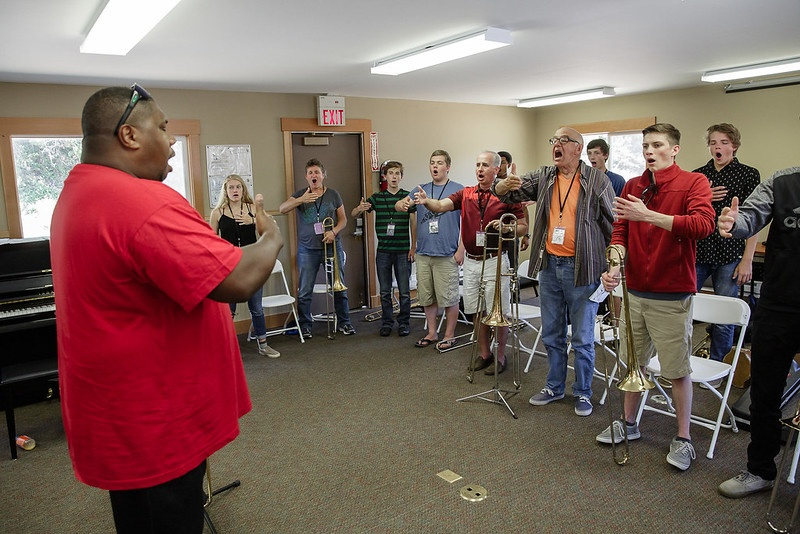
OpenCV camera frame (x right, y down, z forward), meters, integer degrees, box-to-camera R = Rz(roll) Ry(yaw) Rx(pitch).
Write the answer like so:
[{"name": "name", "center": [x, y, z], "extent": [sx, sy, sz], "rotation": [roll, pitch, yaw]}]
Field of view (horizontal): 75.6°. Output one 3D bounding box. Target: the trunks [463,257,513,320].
[{"name": "trunks", "center": [0.842, 0.173, 5.209], "extent": [0.445, 0.636, 0.261], "rotation": [-2, 4, 33]}]

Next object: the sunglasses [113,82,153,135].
[{"name": "sunglasses", "center": [-1.128, -0.665, 2.165], "extent": [0.059, 0.199, 0.164], "rotation": [42, -11, -30]}]

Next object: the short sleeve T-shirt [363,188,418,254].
[{"name": "short sleeve T-shirt", "center": [-0.116, -0.542, 6.662], "extent": [0.700, 0.855, 0.407], "rotation": [4, -4, 12]}]

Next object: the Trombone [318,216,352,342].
[{"name": "Trombone", "center": [-0.848, 0.152, 6.434], "extent": [0.383, 1.508, 0.454], "rotation": [-3, 12, 4]}]

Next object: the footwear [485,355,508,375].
[{"name": "footwear", "center": [0.934, 1.002, 5.159], "extent": [0.146, 0.139, 0.377], "rotation": [0, 13, 35]}]

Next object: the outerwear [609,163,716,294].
[{"name": "outerwear", "center": [1.875, -0.260, 3.729], "extent": [0.394, 0.940, 0.675], "rotation": [-8, 12, -28]}]

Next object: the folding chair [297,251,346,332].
[{"name": "folding chair", "center": [-0.939, 0.184, 6.727], "extent": [0.602, 1.497, 0.374], "rotation": [-10, 32, -15]}]

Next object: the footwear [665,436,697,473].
[{"name": "footwear", "center": [2.029, 1.361, 3.759], "extent": [0.116, 0.136, 0.290], "rotation": [-22, -2, 6]}]

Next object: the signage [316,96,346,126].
[{"name": "signage", "center": [-0.962, -2.132, 7.033], "extent": [0.382, 0.382, 0.128], "rotation": [-5, 8, -35]}]

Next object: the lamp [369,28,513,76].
[{"name": "lamp", "center": [0.355, -2.027, 4.851], "extent": [1.379, 0.159, 0.392], "rotation": [8, 15, 44]}]

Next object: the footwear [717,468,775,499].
[{"name": "footwear", "center": [2.273, 1.458, 3.434], "extent": [0.418, 0.173, 0.146], "rotation": [-8, 32, 9]}]

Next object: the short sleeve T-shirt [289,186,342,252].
[{"name": "short sleeve T-shirt", "center": [-1.004, -0.601, 6.436], "extent": [0.561, 0.736, 0.292], "rotation": [-4, 11, -10]}]

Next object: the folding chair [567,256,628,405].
[{"name": "folding chair", "center": [1.640, 0.494, 4.148], "extent": [0.382, 1.382, 1.181], "rotation": [4, 26, 24]}]

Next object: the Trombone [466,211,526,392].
[{"name": "Trombone", "center": [0.868, 0.242, 4.904], "extent": [0.518, 1.738, 0.504], "rotation": [-1, 2, -24]}]

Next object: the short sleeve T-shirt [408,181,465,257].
[{"name": "short sleeve T-shirt", "center": [0.425, -0.529, 5.916], "extent": [0.720, 0.854, 0.422], "rotation": [3, 12, 16]}]

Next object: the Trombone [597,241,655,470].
[{"name": "Trombone", "center": [1.678, 0.662, 3.745], "extent": [0.393, 1.733, 0.408], "rotation": [-6, 3, -8]}]

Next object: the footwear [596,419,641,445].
[{"name": "footwear", "center": [1.695, 1.272, 3.974], "extent": [0.399, 0.179, 0.163], "rotation": [-3, 1, -7]}]

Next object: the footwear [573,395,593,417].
[{"name": "footwear", "center": [1.569, 1.203, 4.420], "extent": [0.090, 0.091, 0.232], "rotation": [-1, -4, 5]}]

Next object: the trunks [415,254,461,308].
[{"name": "trunks", "center": [0.431, 0.148, 5.880], "extent": [0.599, 0.796, 0.348], "rotation": [-1, 1, 40]}]
